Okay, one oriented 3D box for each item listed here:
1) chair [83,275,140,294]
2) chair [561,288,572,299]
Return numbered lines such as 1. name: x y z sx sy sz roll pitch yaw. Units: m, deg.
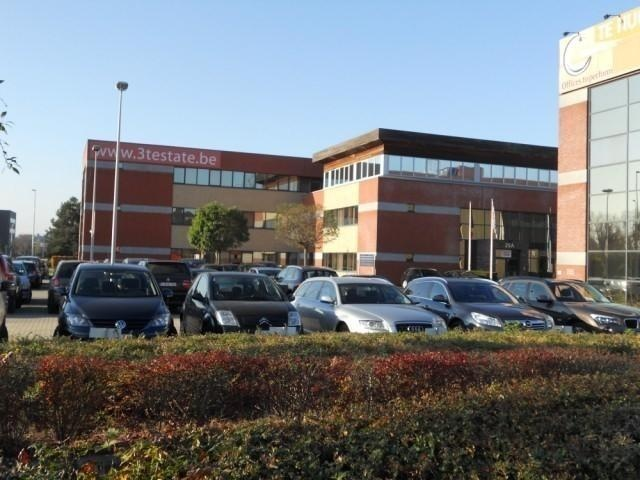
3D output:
1. chair: -4.305 0.972 14.090 0.786 0.502 0.246 2 -46 -24
2. chair: 6.227 1.378 17.244 0.270 0.185 0.359 3 9 15
